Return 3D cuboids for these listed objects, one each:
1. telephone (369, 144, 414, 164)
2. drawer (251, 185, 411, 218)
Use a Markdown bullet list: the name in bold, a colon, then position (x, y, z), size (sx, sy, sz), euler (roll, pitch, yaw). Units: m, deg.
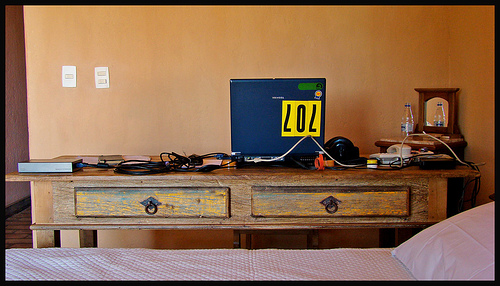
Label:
- **telephone**: position (1.050, 0.076, 3.065), size (0.322, 0.116, 0.214), euler (-1, 9, 5)
- **drawer**: position (0.536, 0.385, 2.777), size (1.040, 0.207, 0.041), euler (-1, 6, 2)
